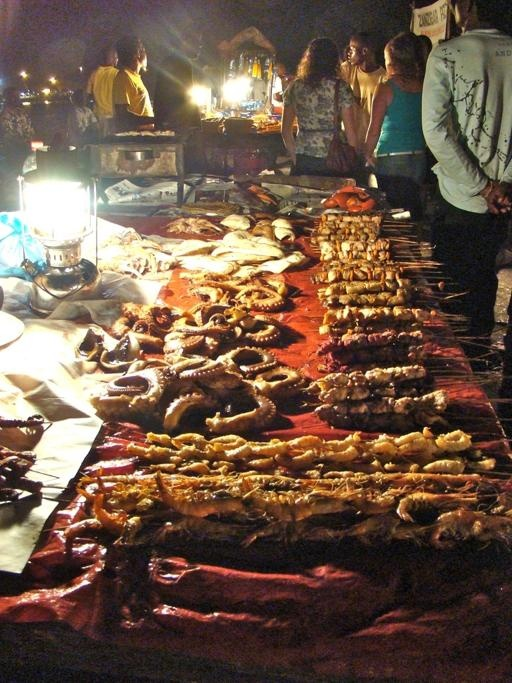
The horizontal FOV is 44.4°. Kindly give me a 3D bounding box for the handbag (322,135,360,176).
[{"bbox_3d":[0.595,-1.314,4.410,0.279,0.136,0.275,10,-36,20],"label":"handbag"}]

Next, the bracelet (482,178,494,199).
[{"bbox_3d":[1.108,-0.730,2.993,0.025,0.073,0.066,18,-8,-29],"label":"bracelet"}]
